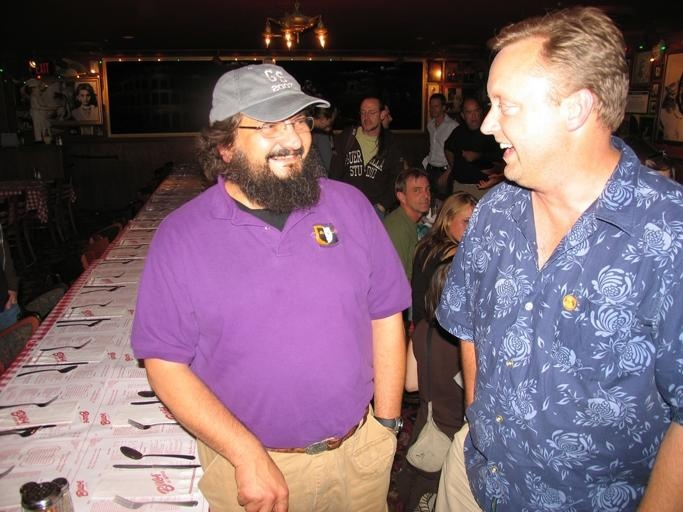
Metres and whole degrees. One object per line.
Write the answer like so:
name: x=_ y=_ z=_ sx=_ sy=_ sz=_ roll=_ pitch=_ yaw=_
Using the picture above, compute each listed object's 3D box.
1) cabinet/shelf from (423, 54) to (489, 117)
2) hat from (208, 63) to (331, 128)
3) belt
cabinet/shelf: x=2.475 y=-3.652 z=10.677 sx=1.273 sy=1.116 sz=0.414 roll=4 pitch=31 yaw=8
hat: x=-0.268 y=-0.524 z=1.623 sx=0.433 sy=0.185 sz=0.319 roll=1 pitch=14 yaw=27
belt: x=-0.065 y=0.536 z=1.523 sx=0.196 sy=0.048 sz=0.107 roll=-19 pitch=9 yaw=-2
